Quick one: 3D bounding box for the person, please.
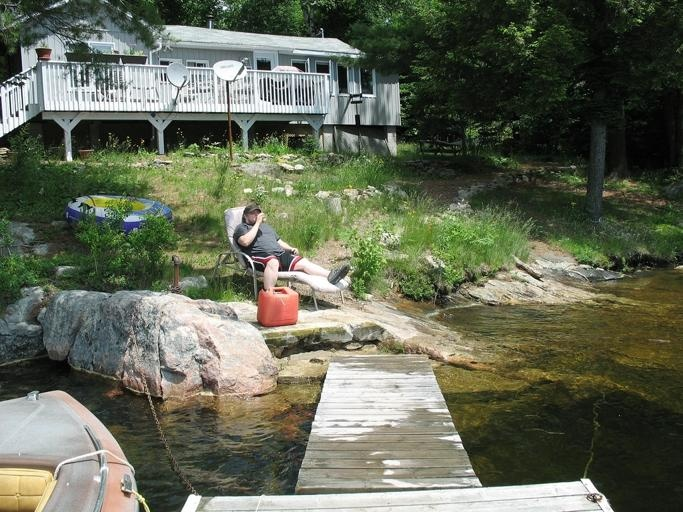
[{"bbox_3d":[-0.896,-0.143,11.632,2.396,1.196,1.062,15,18,38],"label":"person"}]

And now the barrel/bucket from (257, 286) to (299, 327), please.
[{"bbox_3d":[-1.045,0.785,10.541,0.645,0.579,0.482,-1,11,-32],"label":"barrel/bucket"}]

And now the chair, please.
[{"bbox_3d":[-1.179,-0.037,11.712,2.923,1.609,1.320,22,24,35],"label":"chair"}]

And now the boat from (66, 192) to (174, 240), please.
[{"bbox_3d":[-4.806,-1.005,14.329,2.013,0.894,3.073,-1,13,-26],"label":"boat"}]
